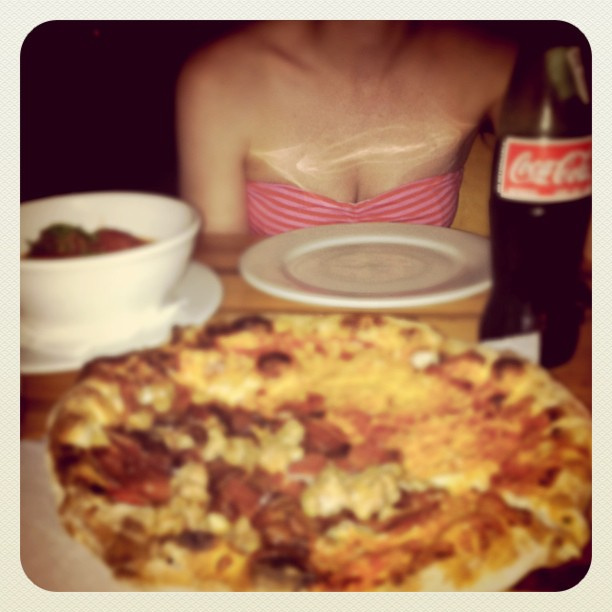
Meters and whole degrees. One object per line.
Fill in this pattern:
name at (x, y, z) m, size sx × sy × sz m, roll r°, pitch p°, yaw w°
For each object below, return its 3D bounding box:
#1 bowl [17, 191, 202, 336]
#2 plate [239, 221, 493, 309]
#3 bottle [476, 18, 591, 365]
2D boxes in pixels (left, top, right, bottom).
bowl at (-0.293, -0.099, 0.868) m, size 0.243 × 0.085 × 0.224 m, roll 0°, pitch 25°, yaw 0°
plate at (0.081, -0.061, 0.915) m, size 0.352 × 0.103 × 0.107 m, roll 1°, pitch 29°, yaw 2°
bottle at (0.329, -0.160, 0.887) m, size 0.150 × 0.428 × 0.266 m, roll 8°, pitch 32°, yaw 13°
